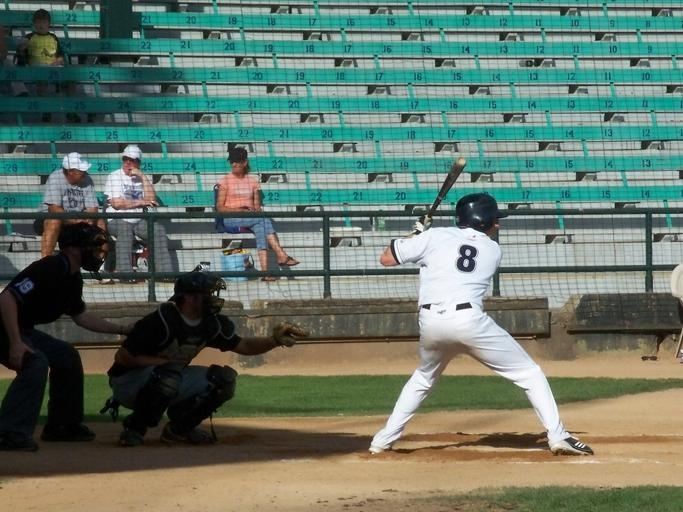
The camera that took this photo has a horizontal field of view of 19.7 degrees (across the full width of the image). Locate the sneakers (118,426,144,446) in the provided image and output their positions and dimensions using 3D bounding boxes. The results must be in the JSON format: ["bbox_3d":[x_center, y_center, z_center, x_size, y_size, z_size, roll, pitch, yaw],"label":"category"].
[{"bbox_3d":[-3.038,2.602,28.119,0.372,0.193,0.158,11,-31,-11],"label":"sneakers"}]

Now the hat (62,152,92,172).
[{"bbox_3d":[-4.592,-1.581,33.909,0.457,0.230,0.318,-1,9,1],"label":"hat"}]

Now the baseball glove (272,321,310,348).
[{"bbox_3d":[-0.834,1.153,28.332,0.377,0.221,0.475,6,-9,-22],"label":"baseball glove"}]

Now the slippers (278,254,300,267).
[{"bbox_3d":[-0.912,0.119,33.394,0.323,0.116,0.161,-2,5,4],"label":"slippers"}]
